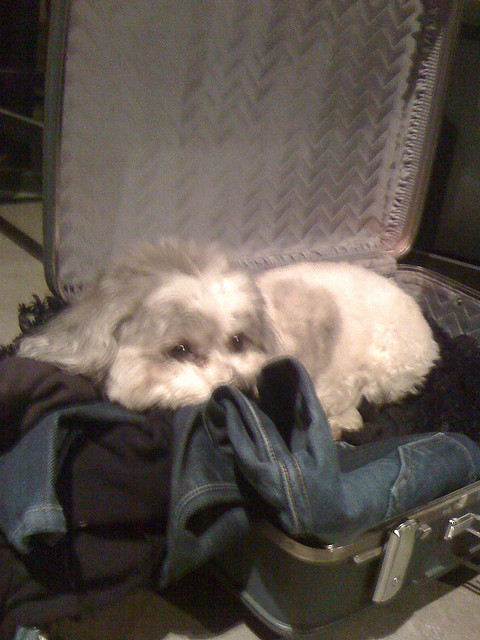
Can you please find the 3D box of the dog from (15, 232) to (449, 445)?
[{"bbox_3d":[0.025,0.003,0.687,0.223,0.112,0.320,11,13,40],"label":"dog"}]
